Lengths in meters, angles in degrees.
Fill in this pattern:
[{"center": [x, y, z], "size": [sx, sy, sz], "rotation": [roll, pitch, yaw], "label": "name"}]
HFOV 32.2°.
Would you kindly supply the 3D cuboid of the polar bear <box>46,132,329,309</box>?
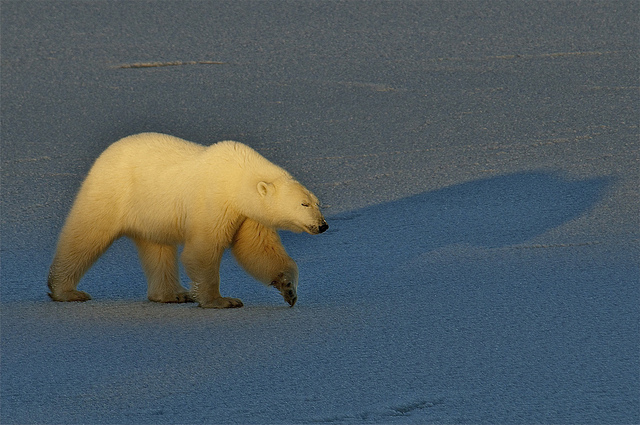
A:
[{"center": [-1.444, 0.074, 12.023], "size": [2.989, 1.997, 0.833], "rotation": [-6, -14, 1], "label": "polar bear"}]
